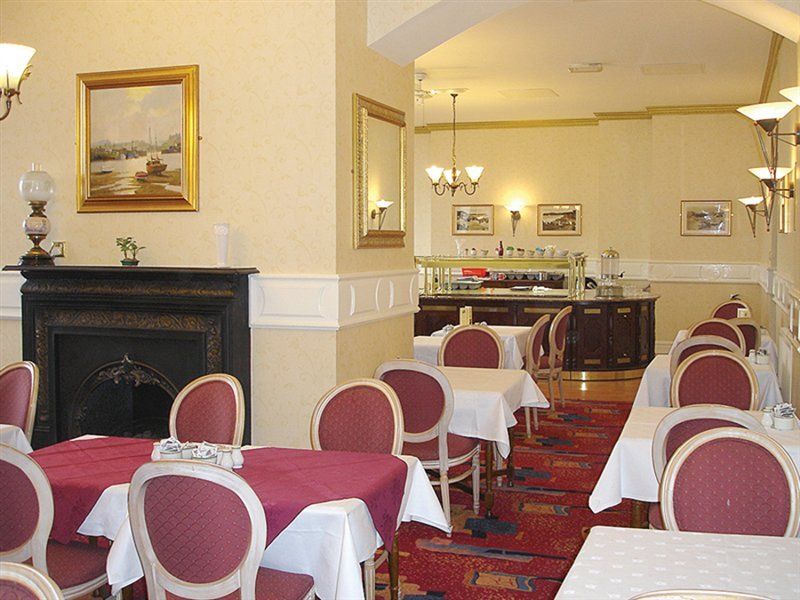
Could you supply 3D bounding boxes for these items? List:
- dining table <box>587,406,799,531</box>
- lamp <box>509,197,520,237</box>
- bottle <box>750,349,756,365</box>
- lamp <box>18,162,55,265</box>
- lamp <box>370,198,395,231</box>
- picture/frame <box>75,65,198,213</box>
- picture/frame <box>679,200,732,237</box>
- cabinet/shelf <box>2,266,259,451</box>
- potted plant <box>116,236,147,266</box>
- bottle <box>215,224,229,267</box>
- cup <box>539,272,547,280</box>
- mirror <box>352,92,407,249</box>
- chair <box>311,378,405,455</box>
[{"bbox_3d":[1.435,0.847,3.295,0.826,0.222,0.898,0,4,26],"label":"dining table"},{"bbox_3d":[2.212,-1.597,12.634,0.237,0.703,0.133,1,5,8],"label":"lamp"},{"bbox_3d":[2.911,0.469,5.439,0.075,0.128,0.077,-1,9,0],"label":"bottle"},{"bbox_3d":[-2.628,-0.605,4.780,0.234,0.698,0.391,-2,6,-29],"label":"lamp"},{"bbox_3d":[-0.139,-0.640,4.850,0.172,0.233,0.202,0,-2,-34],"label":"lamp"},{"bbox_3d":[-1.843,-1.176,4.694,1.074,1.115,0.074,0,0,13],"label":"picture/frame"},{"bbox_3d":[5.165,-1.401,11.038,0.605,0.497,0.028,2,3,19],"label":"picture/frame"},{"bbox_3d":[-1.777,0.353,4.368,1.308,1.184,0.399,1,1,14],"label":"cabinet/shelf"},{"bbox_3d":[-1.929,-0.361,4.743,0.216,0.222,0.120,1,-4,-1],"label":"potted plant"},{"bbox_3d":[-1.208,-0.376,4.464,0.099,0.285,0.183,-1,5,-13],"label":"bottle"},{"bbox_3d":[2.506,-0.434,11.601,0.157,0.156,0.125,-1,-4,25],"label":"cup"},{"bbox_3d":[-0.168,-0.959,4.780,0.092,1.245,1.225,0,2,20],"label":"mirror"},{"bbox_3d":[-0.185,0.608,3.635,0.380,0.605,0.438,1,-3,16],"label":"chair"}]
